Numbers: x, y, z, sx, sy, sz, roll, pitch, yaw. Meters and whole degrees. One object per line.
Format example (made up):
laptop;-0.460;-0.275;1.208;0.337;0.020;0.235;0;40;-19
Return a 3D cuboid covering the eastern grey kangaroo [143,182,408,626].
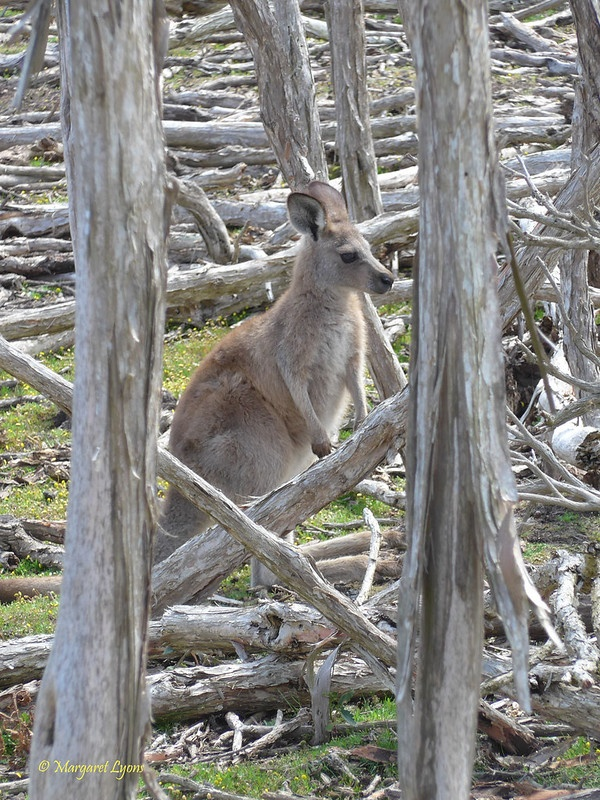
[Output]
eastern grey kangaroo;-0.108;-0.378;7.928;1.215;1.909;0.794;0;2;-8
